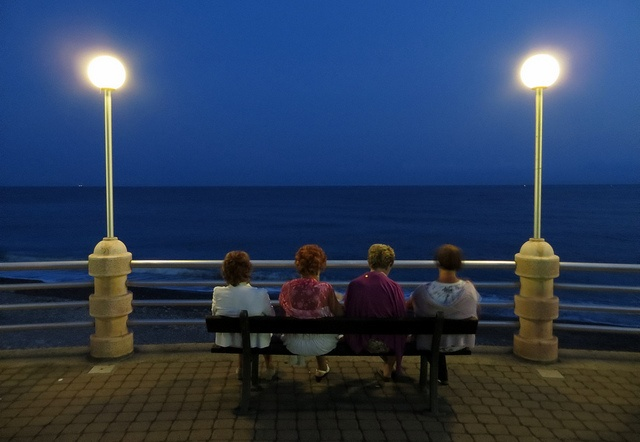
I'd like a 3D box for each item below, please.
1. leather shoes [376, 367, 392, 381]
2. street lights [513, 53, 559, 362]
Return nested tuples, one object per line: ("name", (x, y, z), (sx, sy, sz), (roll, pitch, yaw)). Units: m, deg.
("leather shoes", (0.881, 2.141, 8.844), (0.094, 0.105, 0.260), (8, 10, -24))
("street lights", (3.195, -0.191, 9.319), (0.798, 4.500, 0.619), (-8, 6, -41))
